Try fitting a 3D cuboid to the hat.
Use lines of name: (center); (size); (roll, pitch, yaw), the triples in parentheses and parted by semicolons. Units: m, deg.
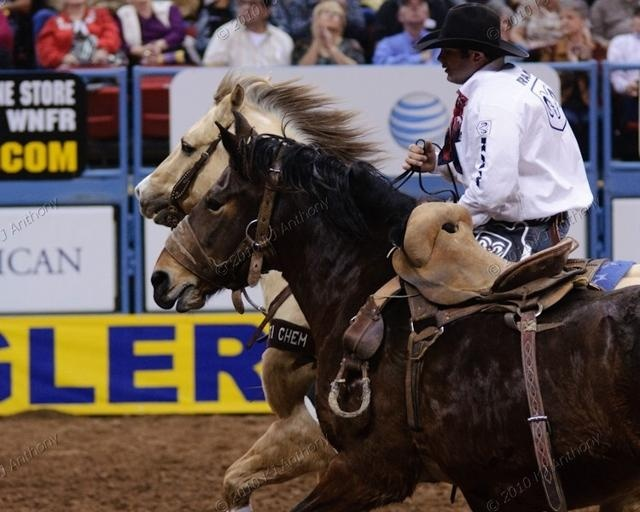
hat: (0.872, -1.272, 9.118); (0.456, 0.171, 0.340); (5, 18, 0)
